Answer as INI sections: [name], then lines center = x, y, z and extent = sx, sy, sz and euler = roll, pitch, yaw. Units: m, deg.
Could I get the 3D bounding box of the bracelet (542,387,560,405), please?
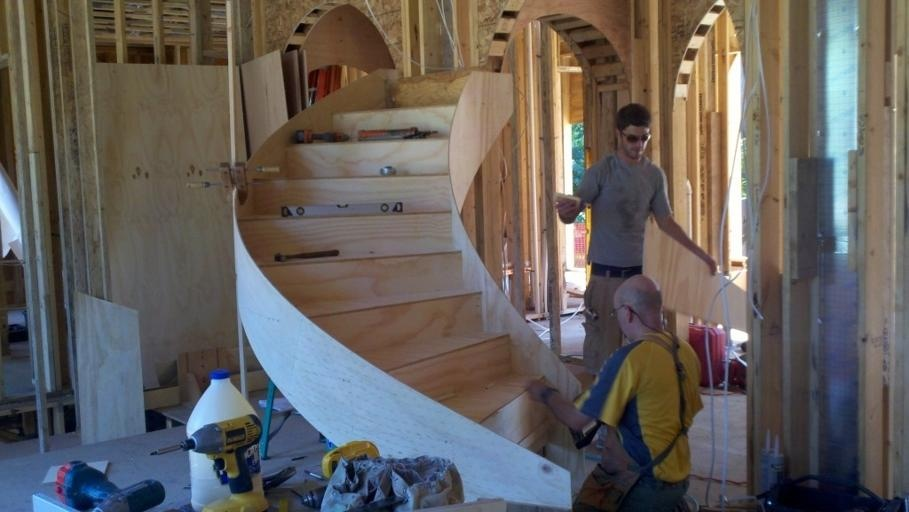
[bracelet]
center = 0.589, 0.859, 5.043
extent = 0.106, 0.079, 0.108
euler = -1, 6, 24

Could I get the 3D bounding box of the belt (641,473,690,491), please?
[belt]
center = 1.248, 1.334, 4.881
extent = 0.183, 0.048, 0.132
euler = 0, 0, -17

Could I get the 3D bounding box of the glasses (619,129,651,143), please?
[glasses]
center = 1.343, -0.879, 6.015
extent = 0.206, 0.083, 0.075
euler = -4, 7, -7

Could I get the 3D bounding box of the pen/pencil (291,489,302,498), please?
[pen/pencil]
center = -0.937, 1.396, 4.827
extent = 0.026, 0.019, 0.117
euler = 12, 5, -19
